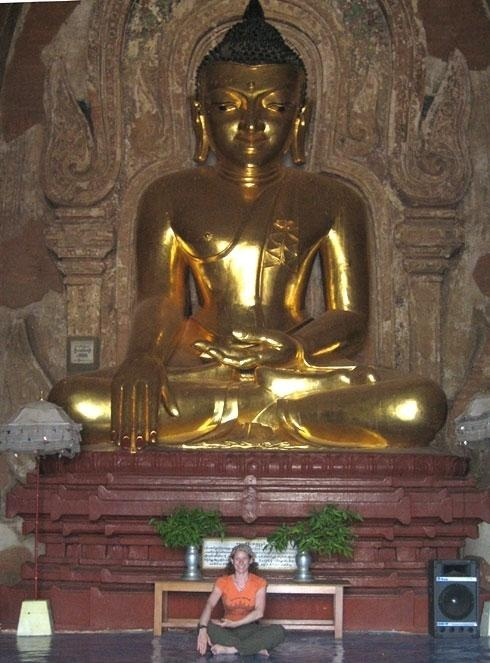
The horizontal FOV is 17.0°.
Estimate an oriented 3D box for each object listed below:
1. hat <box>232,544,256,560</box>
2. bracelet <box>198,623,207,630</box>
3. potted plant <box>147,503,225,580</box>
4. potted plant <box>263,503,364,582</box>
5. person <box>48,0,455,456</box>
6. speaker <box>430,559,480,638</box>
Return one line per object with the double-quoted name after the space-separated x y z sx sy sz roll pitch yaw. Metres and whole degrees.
-0.007 0.842 6.236 0.065 0.038 0.077 0 -1 -2 "hat"
-0.158 1.099 6.087 0.031 0.022 0.045 2 -11 -3 "bracelet"
-0.269 0.882 6.726 0.380 0.351 0.260 1 -10 -9 "potted plant"
0.241 0.876 6.664 0.341 0.224 0.240 10 -7 -41 "potted plant"
-0.067 -0.530 7.720 1.574 2.307 1.129 3 -11 -5 "person"
0.861 1.057 6.514 0.214 0.320 0.214 -3 -7 26 "speaker"
